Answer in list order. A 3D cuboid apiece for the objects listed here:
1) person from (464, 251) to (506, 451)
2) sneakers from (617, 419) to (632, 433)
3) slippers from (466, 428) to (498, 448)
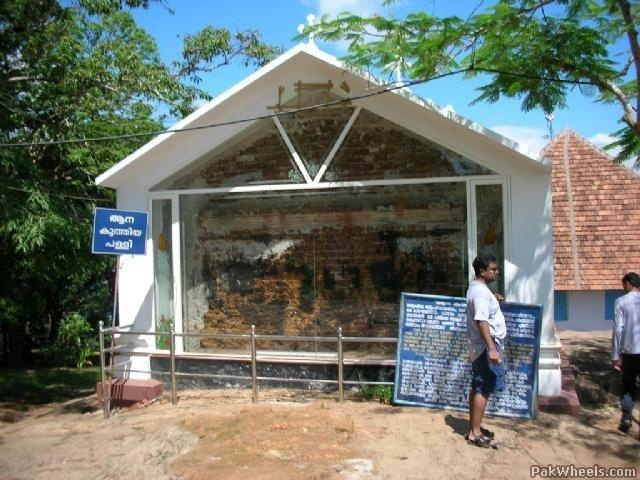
[{"bbox_3d":[2.783,1.865,9.754,0.627,3.088,0.890,1,13,16],"label":"person"},{"bbox_3d":[5.587,3.410,10.656,0.135,0.151,0.346,3,-28,6],"label":"sneakers"},{"bbox_3d":[2.715,3.322,9.742,0.404,0.163,0.232,-4,-1,32],"label":"slippers"}]
